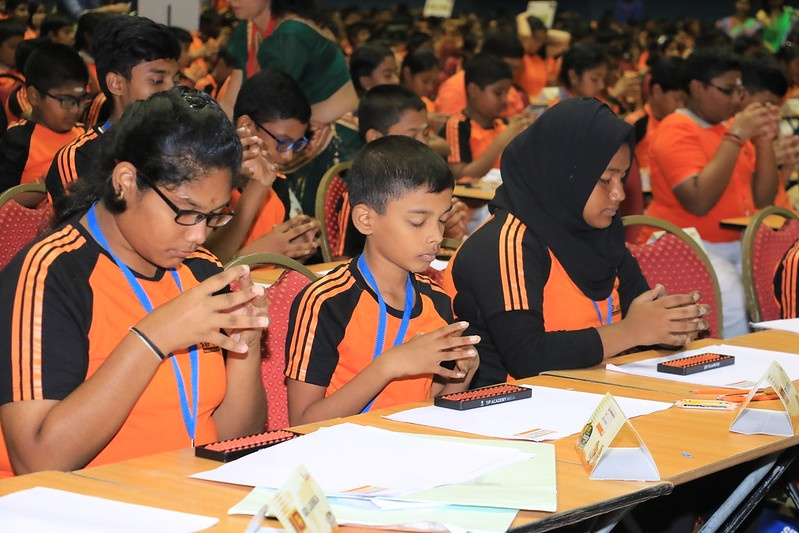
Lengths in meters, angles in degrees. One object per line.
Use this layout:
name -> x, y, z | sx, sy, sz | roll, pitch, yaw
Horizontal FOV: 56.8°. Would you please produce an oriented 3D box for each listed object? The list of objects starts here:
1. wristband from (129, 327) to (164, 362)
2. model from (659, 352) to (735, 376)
wristband -> -0.612, 0.187, 1.797 | 0.081, 0.020, 0.071 | 43, -5, 3
model -> 0.958, 0.307, 2.360 | 0.231, 0.041, 0.094 | -7, 8, -38
